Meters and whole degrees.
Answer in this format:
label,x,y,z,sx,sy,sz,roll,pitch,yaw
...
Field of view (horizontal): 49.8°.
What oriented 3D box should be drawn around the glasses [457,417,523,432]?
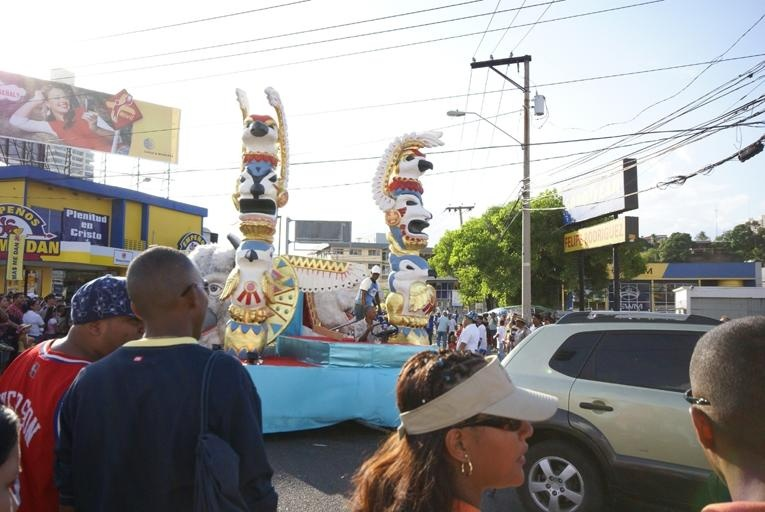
label,x,y,z,sx,sy,sz,roll,pitch,yaw
glasses,1.010,1.502,7.432,0.303,0.083,0.231,-3,-7,-6
